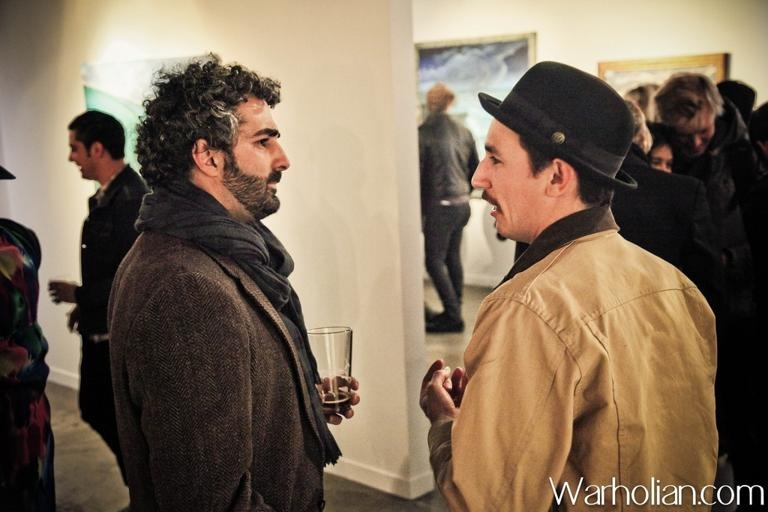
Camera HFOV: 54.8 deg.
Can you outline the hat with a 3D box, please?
[{"bbox_3d":[0.604,-0.452,2.506,0.497,0.185,0.384,29,23,14],"label":"hat"}]
